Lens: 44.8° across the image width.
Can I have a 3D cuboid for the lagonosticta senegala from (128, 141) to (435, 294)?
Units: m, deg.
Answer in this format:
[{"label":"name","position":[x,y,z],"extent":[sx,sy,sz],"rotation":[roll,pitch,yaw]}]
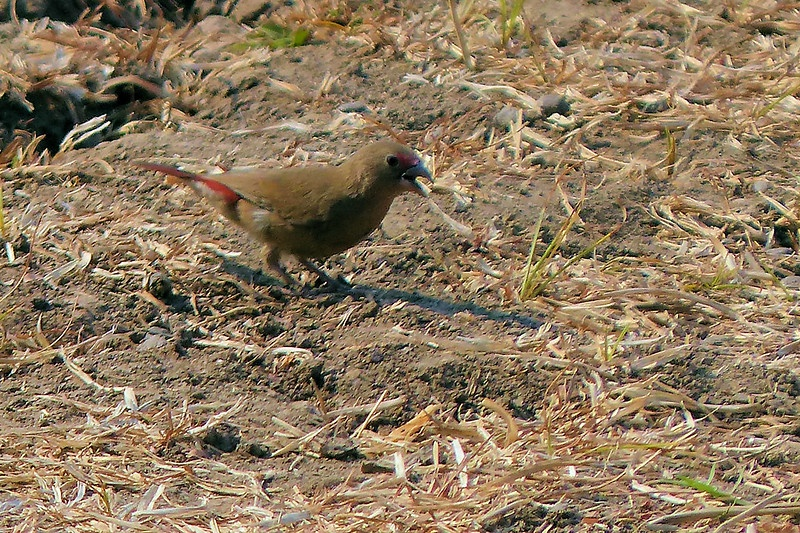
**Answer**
[{"label":"lagonosticta senegala","position":[-0.639,-0.361,5.550],"extent":[1.889,0.675,0.570],"rotation":[7,17,25]}]
